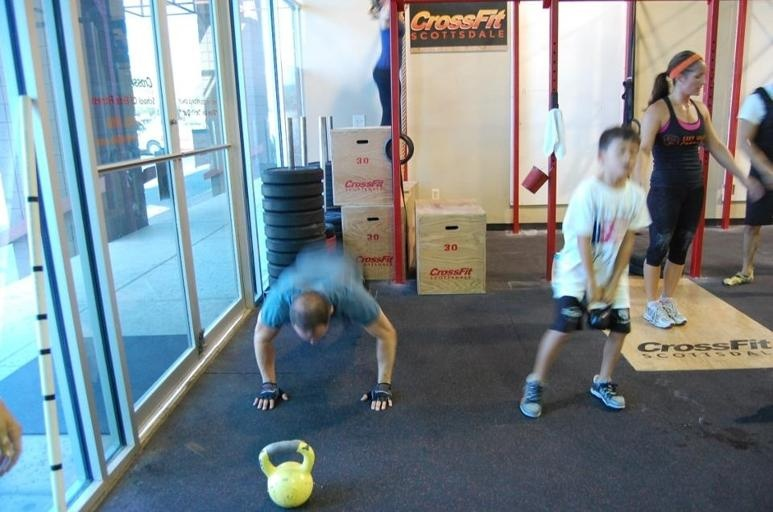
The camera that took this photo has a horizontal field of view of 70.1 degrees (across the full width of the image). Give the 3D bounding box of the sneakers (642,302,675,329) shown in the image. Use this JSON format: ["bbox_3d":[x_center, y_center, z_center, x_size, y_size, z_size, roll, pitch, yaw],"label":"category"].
[{"bbox_3d":[2.322,0.501,4.765,0.124,0.170,0.273,-17,23,-15],"label":"sneakers"}]

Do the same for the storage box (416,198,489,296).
[{"bbox_3d":[0.738,0.193,6.098,0.740,0.865,1.312,0,-21,4],"label":"storage box"}]

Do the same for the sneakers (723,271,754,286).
[{"bbox_3d":[3.564,0.219,5.520,0.346,0.156,0.122,-3,6,7],"label":"sneakers"}]

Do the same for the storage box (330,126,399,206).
[{"bbox_3d":[-0.274,-0.859,6.194,0.738,0.814,0.939,-2,-8,5],"label":"storage box"}]

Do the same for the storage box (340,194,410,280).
[{"bbox_3d":[-0.317,-0.146,6.120,0.776,0.738,0.540,-1,0,-39],"label":"storage box"}]

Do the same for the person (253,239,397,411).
[{"bbox_3d":[-0.419,0.536,3.815,0.892,1.108,0.929,11,21,44],"label":"person"}]

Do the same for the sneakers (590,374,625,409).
[{"bbox_3d":[1.533,0.940,3.876,0.120,0.123,0.280,-10,14,-17],"label":"sneakers"}]

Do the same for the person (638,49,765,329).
[{"bbox_3d":[2.458,-0.538,4.685,0.521,2.232,0.698,6,18,33],"label":"person"}]
